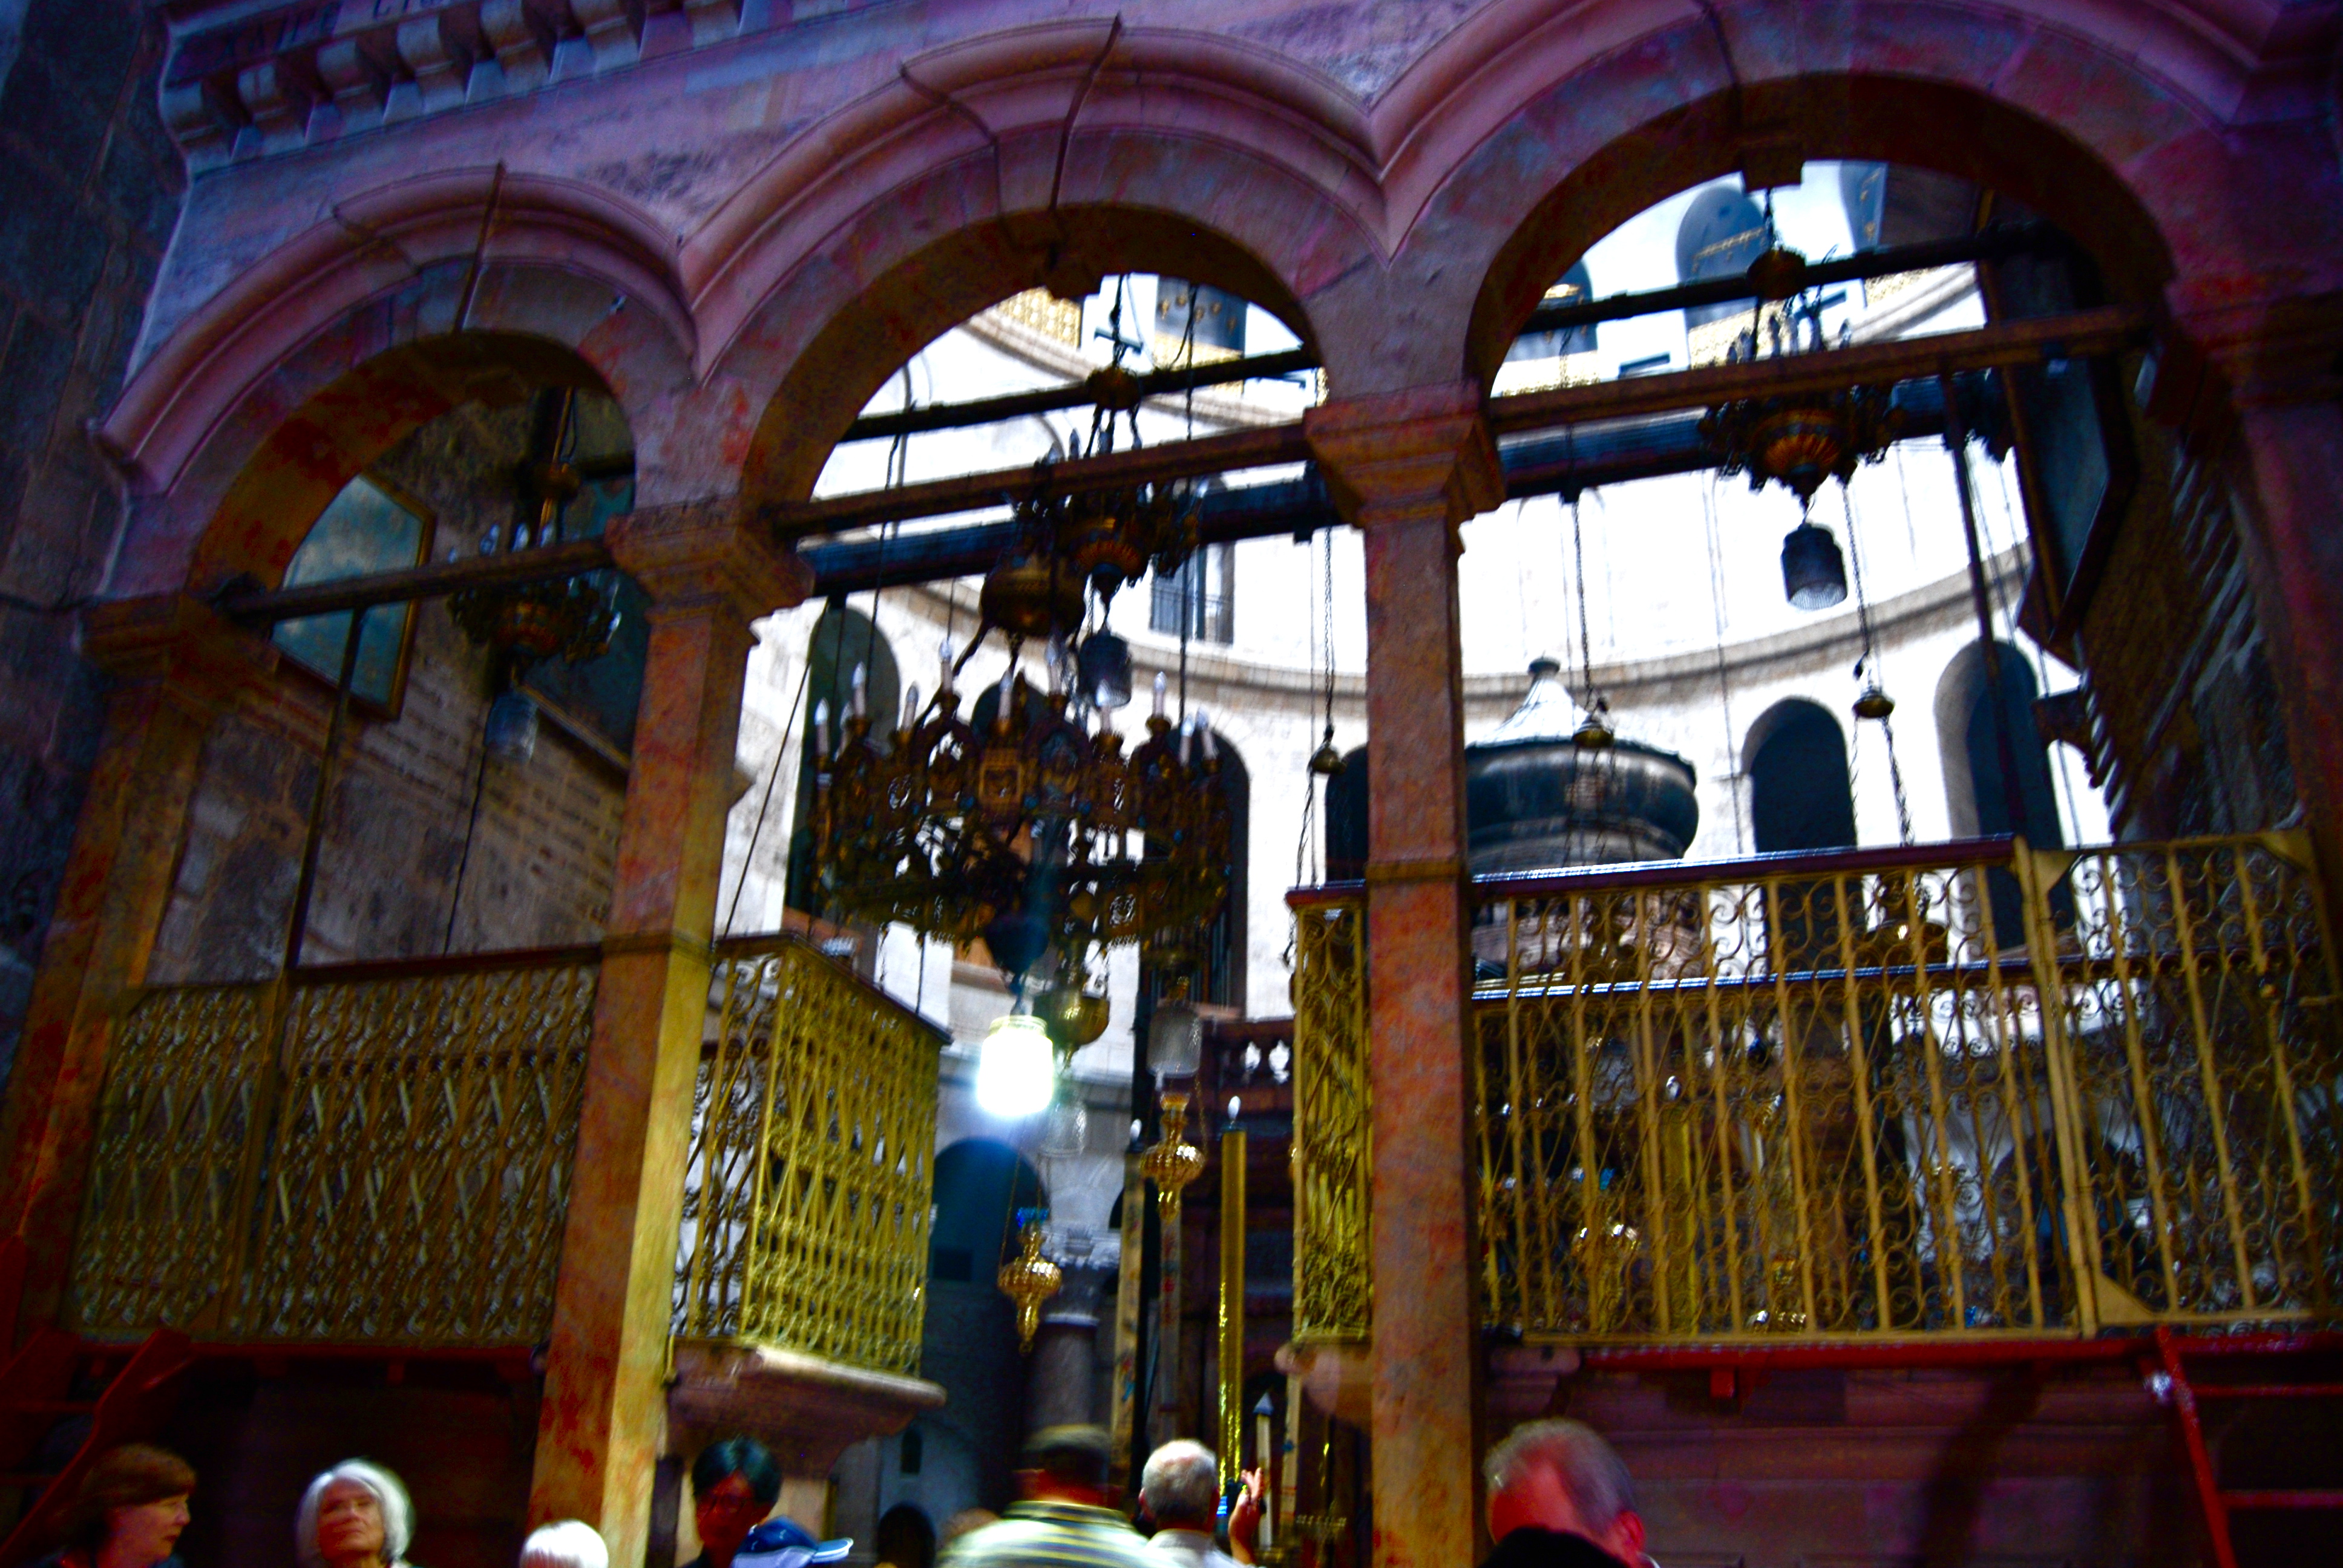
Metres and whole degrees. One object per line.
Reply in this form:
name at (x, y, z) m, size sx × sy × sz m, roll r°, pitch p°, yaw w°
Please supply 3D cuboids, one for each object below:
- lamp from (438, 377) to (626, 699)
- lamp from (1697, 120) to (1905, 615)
lamp at (-4.409, -1.703, 12.003) m, size 0.977 × 2.536 × 1.039 m, roll 12°, pitch -16°, yaw -19°
lamp at (3.487, -2.386, 10.043) m, size 0.981 × 2.637 × 1.009 m, roll -16°, pitch -17°, yaw 14°
